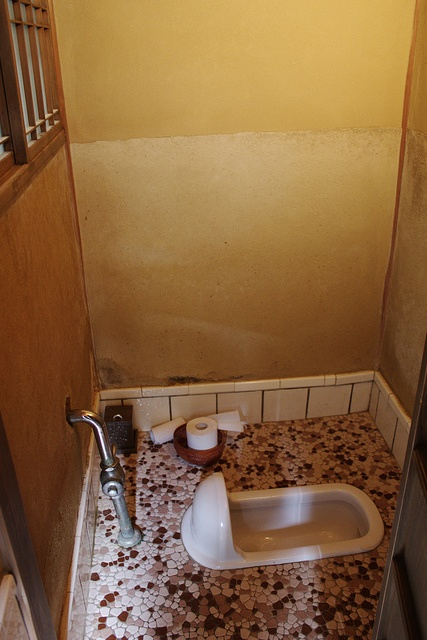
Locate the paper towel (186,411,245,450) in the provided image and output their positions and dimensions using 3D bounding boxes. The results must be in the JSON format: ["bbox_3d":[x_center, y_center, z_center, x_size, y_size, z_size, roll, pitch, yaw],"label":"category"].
[{"bbox_3d":[0.005,0.402,1.743,0.160,0.076,0.110,-9,25,-28],"label":"paper towel"}]

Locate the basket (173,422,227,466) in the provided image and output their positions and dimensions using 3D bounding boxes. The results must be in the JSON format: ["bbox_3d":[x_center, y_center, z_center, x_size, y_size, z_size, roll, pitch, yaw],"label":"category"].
[{"bbox_3d":[-0.055,0.458,1.725,0.193,0.157,0.152,-1,-15,-3],"label":"basket"}]
